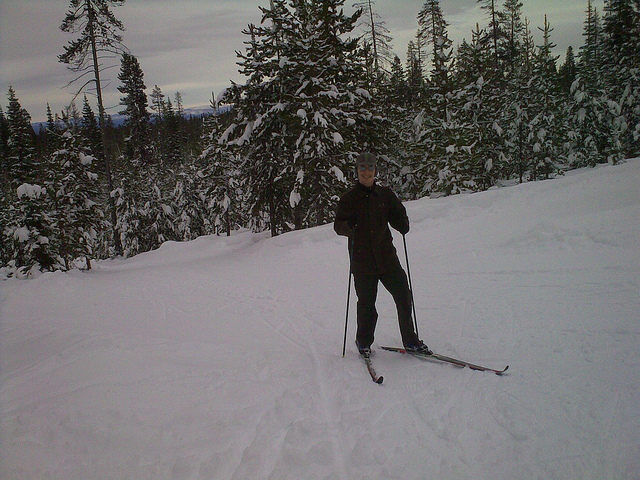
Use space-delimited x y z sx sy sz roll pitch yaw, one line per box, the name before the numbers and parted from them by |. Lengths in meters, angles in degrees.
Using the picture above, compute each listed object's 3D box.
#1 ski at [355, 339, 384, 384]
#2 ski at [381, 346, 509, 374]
ski | 1.152 2.847 11.872 0.147 0.194 1.204 -10 18 -6
ski | 2.893 2.741 11.767 1.844 0.219 0.282 7 12 23
